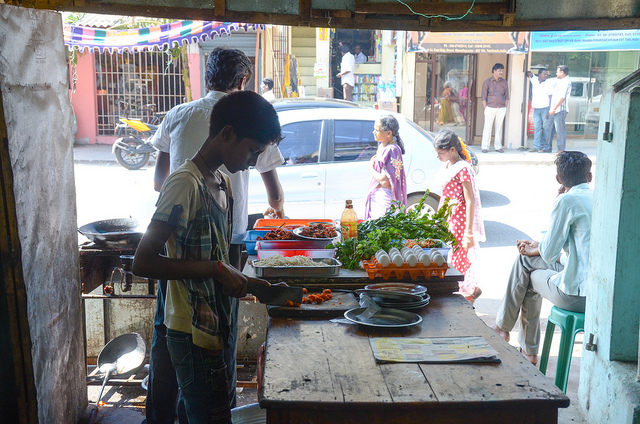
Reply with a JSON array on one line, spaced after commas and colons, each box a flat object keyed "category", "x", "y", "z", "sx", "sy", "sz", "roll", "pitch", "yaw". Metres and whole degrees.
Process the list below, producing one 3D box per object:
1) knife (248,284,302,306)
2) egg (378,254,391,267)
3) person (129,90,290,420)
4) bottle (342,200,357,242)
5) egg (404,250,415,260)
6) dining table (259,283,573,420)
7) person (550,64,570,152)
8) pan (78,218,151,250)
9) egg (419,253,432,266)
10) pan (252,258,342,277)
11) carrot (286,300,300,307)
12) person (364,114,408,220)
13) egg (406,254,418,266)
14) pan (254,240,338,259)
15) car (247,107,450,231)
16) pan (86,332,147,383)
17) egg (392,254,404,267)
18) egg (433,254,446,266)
[{"category": "knife", "x": -0.312, "y": 0.584, "z": 4.094, "sx": 0.309, "sy": 0.086, "sz": 0.178, "roll": 1, "pitch": 6, "yaw": -8}, {"category": "egg", "x": 0.502, "y": 0.373, "z": 4.524, "sx": 0.097, "sy": 0.085, "sz": 0.047, "roll": 1, "pitch": 11, "yaw": 6}, {"category": "person", "x": -0.731, "y": 0.442, "z": 4.133, "sx": 1.006, "sy": 2.550, "sz": 1.096, "roll": -1, "pitch": 11, "yaw": -3}, {"category": "bottle", "x": 0.262, "y": 0.072, "z": 5.131, "sx": 0.129, "sy": 0.317, "sz": 0.296, "roll": 0, "pitch": 11, "yaw": 3}, {"category": "egg", "x": 0.697, "y": 0.335, "z": 4.554, "sx": 0.060, "sy": 0.062, "sz": 0.063, "roll": 0, "pitch": 7, "yaw": 4}, {"category": "dining table", "x": 0.483, "y": 0.915, "z": 3.797, "sx": 1.760, "sy": 0.482, "sz": 1.082, "roll": -2, "pitch": 11, "yaw": -7}, {"category": "person", "x": 6.246, "y": -2.754, "z": 15.159, "sx": 0.433, "sy": 2.148, "sz": 1.460, "roll": 4, "pitch": 11, "yaw": 21}, {"category": "pan", "x": -1.916, "y": 0.197, "z": 5.360, "sx": 0.579, "sy": 0.199, "sz": 0.616, "roll": -3, "pitch": 11, "yaw": -13}, {"category": "egg", "x": 0.819, "y": 0.365, "z": 4.495, "sx": 0.096, "sy": 0.094, "sz": 0.040, "roll": 2, "pitch": 11, "yaw": 10}, {"category": "pan", "x": -0.182, "y": 0.432, "z": 4.550, "sx": 0.687, "sy": 0.106, "sz": 0.234, "roll": -3, "pitch": 11, "yaw": -13}, {"category": "carrot", "x": -0.198, "y": 0.657, "z": 4.182, "sx": 0.053, "sy": 0.022, "sz": 0.065, "roll": 11, "pitch": -7, "yaw": 14}, {"category": "person", "x": 0.776, "y": -0.517, "z": 6.800, "sx": 0.498, "sy": 1.213, "sz": 0.699, "roll": 1, "pitch": 11, "yaw": 5}, {"category": "egg", "x": 0.713, "y": 0.369, "z": 4.489, "sx": 0.109, "sy": 0.115, "sz": 0.066, "roll": 0, "pitch": -8, "yaw": 11}, {"category": "pan", "x": -0.203, "y": 0.306, "z": 4.923, "sx": 0.697, "sy": 0.128, "sz": 0.240, "roll": 0, "pitch": 11, "yaw": -1}, {"category": "car", "x": 0.364, "y": -0.652, "z": 8.231, "sx": 2.574, "sy": 1.202, "sz": 1.467, "roll": 1, "pitch": 5, "yaw": -5}, {"category": "pan", "x": -1.840, "y": 1.301, "z": 5.455, "sx": 0.416, "sy": 0.515, "sz": 0.579, "roll": 3, "pitch": 19, "yaw": 5}, {"category": "egg", "x": 0.606, "y": 0.374, "z": 4.501, "sx": 0.116, "sy": 0.119, "sz": 0.069, "roll": 2, "pitch": -9, "yaw": 10}, {"category": "egg", "x": 0.925, "y": 0.366, "z": 4.499, "sx": 0.097, "sy": 0.089, "sz": 0.037, "roll": -2, "pitch": 11, "yaw": -7}]
